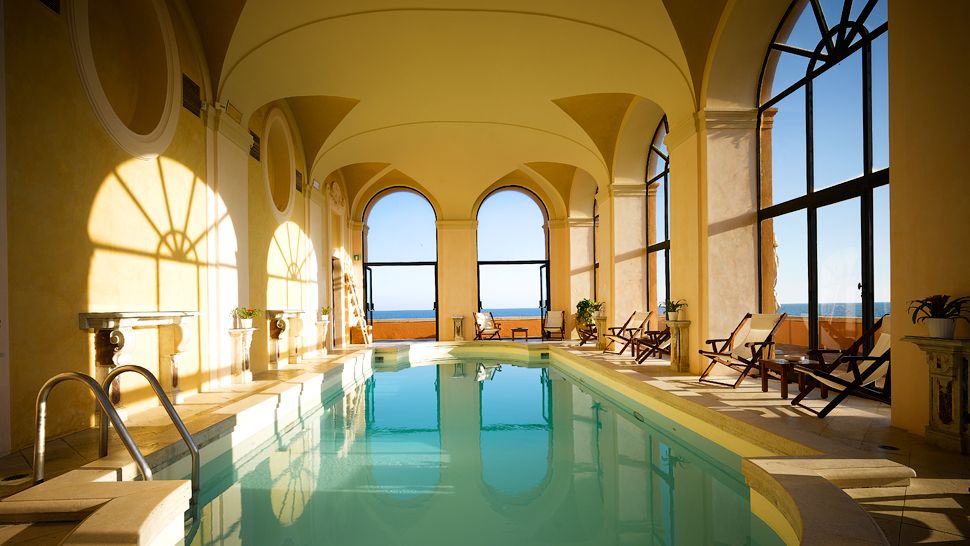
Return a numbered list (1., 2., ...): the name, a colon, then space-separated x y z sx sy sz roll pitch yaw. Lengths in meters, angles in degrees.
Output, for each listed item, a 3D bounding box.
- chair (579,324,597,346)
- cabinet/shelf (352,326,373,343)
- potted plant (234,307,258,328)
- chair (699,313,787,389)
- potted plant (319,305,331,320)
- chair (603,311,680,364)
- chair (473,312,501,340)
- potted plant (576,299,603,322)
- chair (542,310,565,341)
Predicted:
1. chair: 2.764 1.700 15.792 0.584 0.631 0.483 2 -1 3
2. cabinet/shelf: -3.748 1.880 17.158 0.542 0.407 0.542 0 3 8
3. potted plant: -4.356 0.821 10.523 0.365 0.255 0.365 1 3 19
4. chair: 4.090 1.241 9.849 0.964 0.898 0.706 -3 -2 16
5. potted plant: -4.193 1.055 15.202 0.323 0.353 0.351 2 -3 -11
6. chair: 3.474 1.410 12.767 1.290 1.216 0.938 -2 -3 -24
7. chair: 0.102 1.613 17.761 0.707 1.021 0.957 0 -1 -17
8. potted plant: 2.878 1.023 15.888 0.618 0.555 0.615 2 -4 -15
9. chair: 2.161 1.620 18.029 0.602 0.889 0.930 -1 0 15
